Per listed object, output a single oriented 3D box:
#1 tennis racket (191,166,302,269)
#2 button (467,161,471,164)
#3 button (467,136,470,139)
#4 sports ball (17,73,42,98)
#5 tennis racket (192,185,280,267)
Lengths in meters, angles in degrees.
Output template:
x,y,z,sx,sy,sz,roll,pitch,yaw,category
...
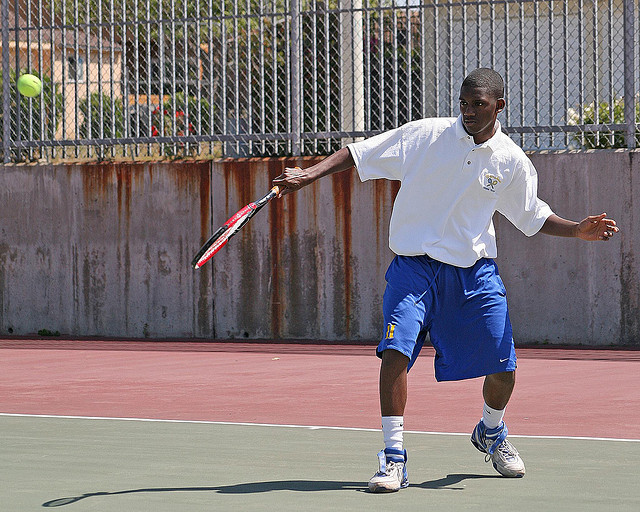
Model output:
x,y,z,sx,sy,sz,roll,pitch,yaw,category
-0.743,-0.396,14.237,1.577,0.133,0.256,-44,-20,-24,tennis racket
1.015,-0.635,8.915,0.021,0.017,0.004,0,0,5,button
1.011,-0.805,8.913,0.016,0.018,0.004,3,-1,4,button
-3.599,-2.117,16.145,0.286,0.257,0.226,28,21,24,sports ball
-0.566,-0.199,8.958,0.575,0.548,0.476,0,0,-4,tennis racket
